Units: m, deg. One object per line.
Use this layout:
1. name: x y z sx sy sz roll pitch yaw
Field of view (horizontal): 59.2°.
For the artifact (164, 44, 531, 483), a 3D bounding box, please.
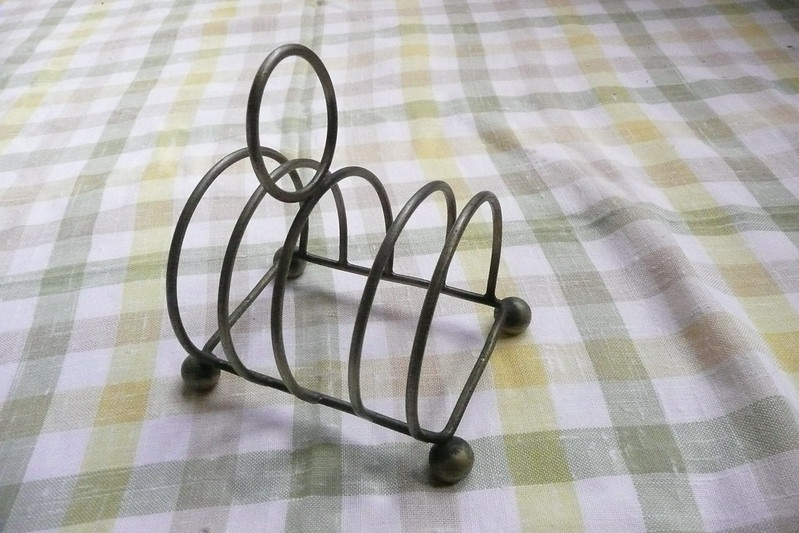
1. artifact: -0.080 0.008 1.090 0.527 0.523 0.379 22 54 16
